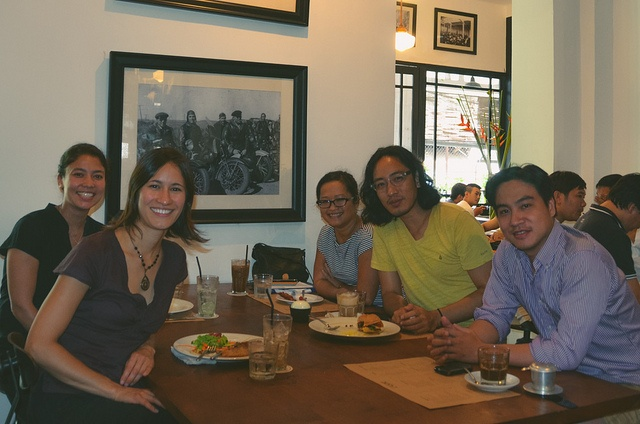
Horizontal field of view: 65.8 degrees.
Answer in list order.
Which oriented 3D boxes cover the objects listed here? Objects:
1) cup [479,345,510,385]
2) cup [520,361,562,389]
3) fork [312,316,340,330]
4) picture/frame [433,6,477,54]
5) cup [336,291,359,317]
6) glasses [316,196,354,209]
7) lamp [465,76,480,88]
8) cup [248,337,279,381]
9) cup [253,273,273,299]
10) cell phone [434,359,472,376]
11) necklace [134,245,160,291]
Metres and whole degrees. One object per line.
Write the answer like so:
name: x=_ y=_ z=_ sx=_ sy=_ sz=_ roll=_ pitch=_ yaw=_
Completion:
cup: x=0.722 y=0.634 z=2.042 sx=0.135 sy=0.150 sz=0.136 roll=0 pitch=-6 yaw=0
cup: x=0.912 y=0.649 z=1.989 sx=0.098 sy=0.084 sz=0.099 roll=2 pitch=2 yaw=0
fork: x=0.029 y=0.589 z=2.693 sx=0.047 sy=0.038 sz=0.219 roll=0 pitch=7 yaw=-37
picture/frame: x=2.340 y=-3.217 z=8.670 sx=0.950 sy=0.678 sz=0.035 roll=0 pitch=1 yaw=-31
cup: x=0.164 y=0.521 z=2.807 sx=0.125 sy=0.143 sz=0.129 roll=1 pitch=-4 yaw=0
glasses: x=0.110 y=-0.059 z=3.502 sx=0.249 sy=0.073 sz=0.097 roll=-1 pitch=1 yaw=4
lamp: x=2.797 y=-2.348 z=8.998 sx=0.203 sy=0.211 sz=0.212 roll=-2 pitch=3 yaw=5
cup: x=-0.236 y=0.616 z=2.112 sx=0.152 sy=0.162 sz=0.150 roll=0 pitch=4 yaw=0
cup: x=-0.378 y=0.492 z=3.241 sx=0.148 sy=0.158 sz=0.147 roll=1 pitch=-4 yaw=0
cell phone: x=0.580 y=0.690 z=2.172 sx=0.167 sy=0.017 sz=0.095 roll=-8 pitch=11 yaw=-43
necklace: x=-0.863 y=0.281 z=2.449 sx=0.022 sy=0.244 sz=0.210 roll=-2 pitch=-7 yaw=34
